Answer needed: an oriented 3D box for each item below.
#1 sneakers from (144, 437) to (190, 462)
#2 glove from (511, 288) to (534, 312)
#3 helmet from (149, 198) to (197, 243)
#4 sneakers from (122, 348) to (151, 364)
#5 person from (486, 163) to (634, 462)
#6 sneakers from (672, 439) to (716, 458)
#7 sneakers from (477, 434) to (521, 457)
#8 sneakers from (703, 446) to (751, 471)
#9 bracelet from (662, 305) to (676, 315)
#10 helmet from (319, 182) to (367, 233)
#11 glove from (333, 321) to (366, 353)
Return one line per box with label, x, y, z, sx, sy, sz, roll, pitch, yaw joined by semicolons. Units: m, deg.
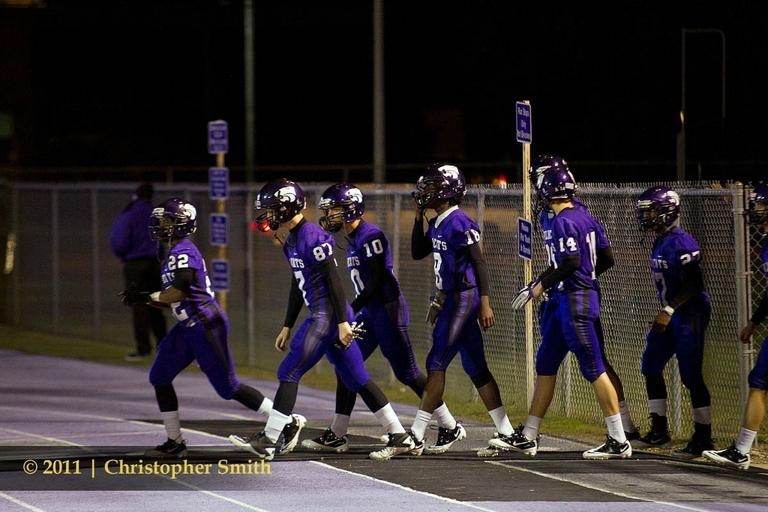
sneakers;-2.528;2.262;12.841;0.605;0.256;0.199;0;-6;3
glove;1.607;0.473;12.907;0.195;0.260;0.315;-1;6;-3
helmet;-2.481;-0.433;12.989;0.594;0.424;0.440;1;3;-5
sneakers;-4.416;1.790;19.604;0.525;0.194;0.179;0;1;1
person;2.212;0.656;13.128;1.440;3.509;0.916;1;7;8
sneakers;3.667;2.302;13.252;0.593;0.221;0.190;0;1;10
sneakers;1.352;2.278;13.224;0.525;0.223;0.177;2;-3;-22
sneakers;3.961;2.305;12.681;0.594;0.231;0.207;13;-13;22
bracelet;3.375;0.634;13.111;0.123;0.094;0.097;38;15;-39
helmet;-0.498;-0.596;13.414;0.661;0.558;0.498;2;-8;-31
glove;-0.335;0.941;13.029;0.250;0.400;0.194;14;-16;-29
